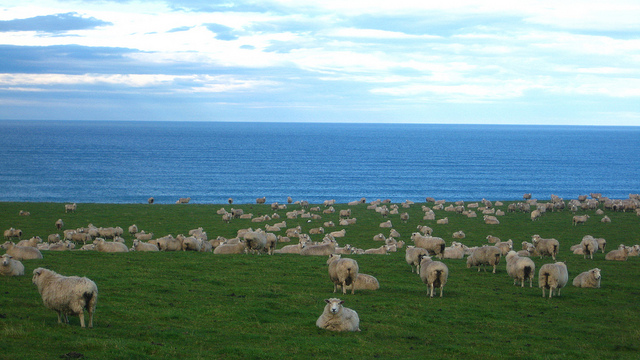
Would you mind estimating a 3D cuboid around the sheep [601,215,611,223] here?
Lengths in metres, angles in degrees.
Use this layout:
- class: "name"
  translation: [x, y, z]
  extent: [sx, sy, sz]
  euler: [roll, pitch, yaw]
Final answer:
- class: "sheep"
  translation: [74.145, 10.285, 252.432]
  extent: [2.488, 1.544, 1.883]
  euler: [-2, 5, -43]
